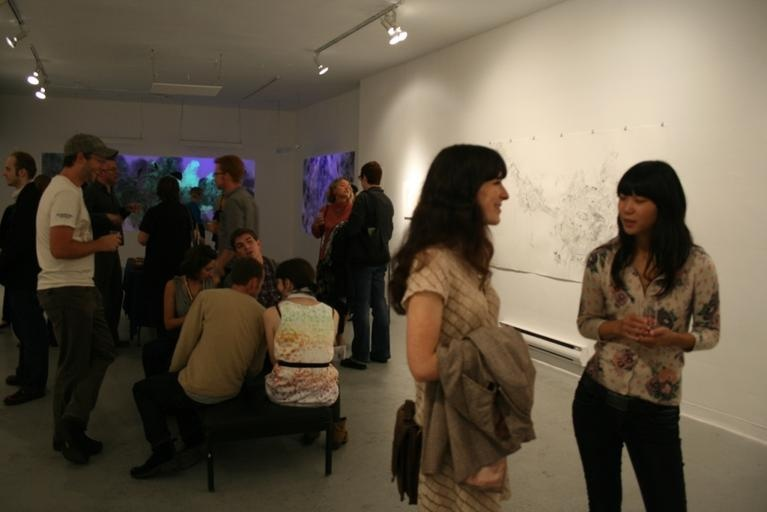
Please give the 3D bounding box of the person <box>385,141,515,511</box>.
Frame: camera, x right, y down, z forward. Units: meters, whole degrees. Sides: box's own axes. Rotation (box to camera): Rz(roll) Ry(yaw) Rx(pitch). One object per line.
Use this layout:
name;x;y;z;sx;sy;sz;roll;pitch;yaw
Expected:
person;0.378;0.420;2.886;0.652;2.000;0.519;1;11;0

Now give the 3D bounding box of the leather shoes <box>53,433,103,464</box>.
leather shoes;-2.444;1.634;4.491;0.126;0.255;0.358;22;22;36

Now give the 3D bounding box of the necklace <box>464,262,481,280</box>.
necklace;0.488;0.090;2.889;0.022;0.087;0.091;-44;3;-14

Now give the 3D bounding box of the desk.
desk;-2.399;0.527;6.943;1.333;0.746;1.334;3;-2;-39

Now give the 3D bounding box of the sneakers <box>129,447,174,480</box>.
sneakers;-1.730;1.679;4.371;0.401;0.297;0.165;1;3;-8

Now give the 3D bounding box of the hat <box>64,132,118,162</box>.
hat;-2.425;-0.962;4.670;0.398;0.246;0.252;-13;17;-25
